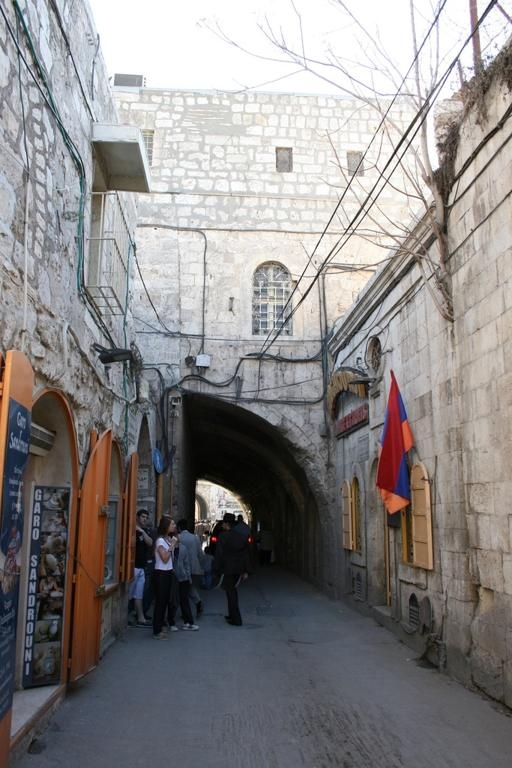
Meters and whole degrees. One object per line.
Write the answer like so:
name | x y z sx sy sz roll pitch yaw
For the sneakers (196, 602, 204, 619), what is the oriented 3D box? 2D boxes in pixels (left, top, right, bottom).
sneakers | -0.911 3.710 8.085 0.090 0.161 0.397 1 -56 -19

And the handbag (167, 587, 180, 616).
handbag | -1.134 2.989 6.706 0.139 0.574 0.496 2 -13 -10

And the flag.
flag | 1.727 0.648 6.064 0.318 1.791 0.565 5 -12 -21
